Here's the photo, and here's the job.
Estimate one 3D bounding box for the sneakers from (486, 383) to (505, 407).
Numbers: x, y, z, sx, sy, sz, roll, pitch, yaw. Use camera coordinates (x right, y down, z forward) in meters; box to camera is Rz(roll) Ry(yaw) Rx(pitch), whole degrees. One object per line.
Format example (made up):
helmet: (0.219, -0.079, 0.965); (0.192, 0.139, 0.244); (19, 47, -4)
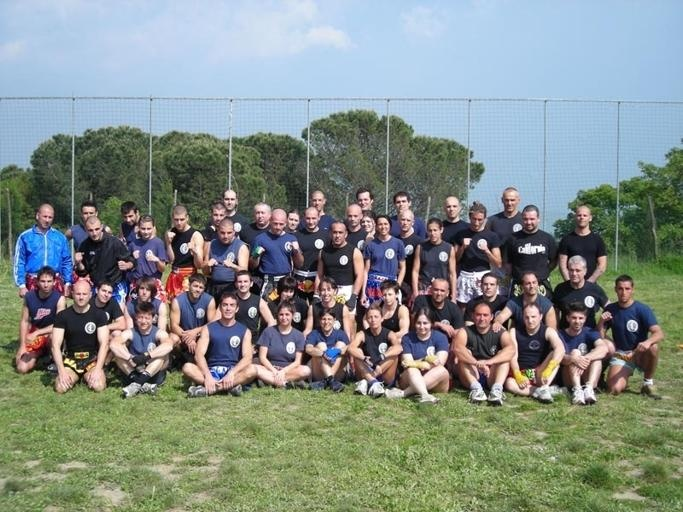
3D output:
sneakers: (2.035, 1.830, 10.244); (0.182, 0.200, 0.264); (2, 15, 9)

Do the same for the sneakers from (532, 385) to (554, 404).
sneakers: (2.682, 1.816, 10.283); (0.270, 0.165, 0.269); (1, 15, 5)

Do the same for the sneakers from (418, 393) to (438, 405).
sneakers: (1.130, 1.876, 10.180); (0.205, 0.103, 0.113); (0, 0, -22)

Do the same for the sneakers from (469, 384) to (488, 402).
sneakers: (1.833, 1.822, 10.357); (0.241, 0.158, 0.327); (2, 15, 7)

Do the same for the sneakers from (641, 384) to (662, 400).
sneakers: (4.150, 1.809, 10.392); (0.181, 0.129, 0.310); (-4, 16, -15)
